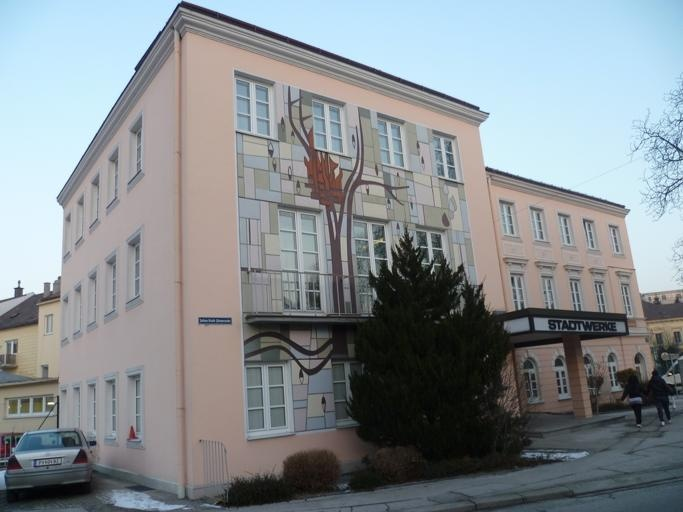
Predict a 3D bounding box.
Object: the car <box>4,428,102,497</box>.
[{"bbox_3d":[-7.250,5.293,13.374,1.360,1.140,2.517,0,-8,-21],"label":"car"}]
